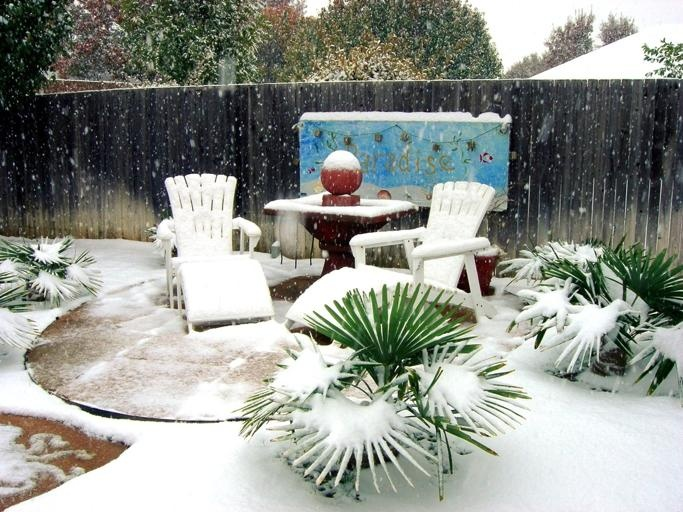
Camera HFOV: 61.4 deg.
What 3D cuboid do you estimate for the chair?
[{"bbox_3d":[0.409,-0.086,4.828,1.847,0.945,1.571,-4,14,-10],"label":"chair"}]
